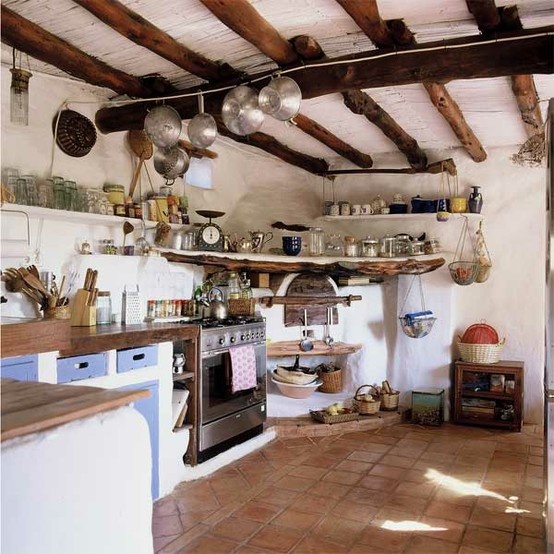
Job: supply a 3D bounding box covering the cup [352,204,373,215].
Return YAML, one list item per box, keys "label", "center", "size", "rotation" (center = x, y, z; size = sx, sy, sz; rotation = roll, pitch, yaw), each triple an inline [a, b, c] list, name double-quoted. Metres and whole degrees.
- label: "cup"
  center: [1.041, -0.831, 5.672]
  size: [0.239, 0.109, 0.124]
  rotation: [0, -3, 10]

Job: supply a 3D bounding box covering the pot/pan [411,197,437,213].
- label: "pot/pan"
  center: [1.679, -0.813, 5.316]
  size: [0.218, 0.145, 0.204]
  rotation: [-1, 6, -9]

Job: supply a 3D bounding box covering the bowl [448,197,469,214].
- label: "bowl"
  center: [1.994, -0.789, 5.075]
  size: [0.182, 0.125, 0.172]
  rotation: [0, -3, 0]

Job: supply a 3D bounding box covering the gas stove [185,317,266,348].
- label: "gas stove"
  center: [-0.393, 0.453, 3.826]
  size: [0.191, 0.217, 0.872]
  rotation: [-1, -2, 28]

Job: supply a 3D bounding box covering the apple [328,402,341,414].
- label: "apple"
  center: [0.581, 1.306, 4.660]
  size: [0.073, 0.045, 0.112]
  rotation: [11, 16, 4]

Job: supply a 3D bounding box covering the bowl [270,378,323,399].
- label: "bowl"
  center: [0.126, 1.162, 4.863]
  size: [0.595, 0.203, 0.281]
  rotation: [-1, -3, 43]

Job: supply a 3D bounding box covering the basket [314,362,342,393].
- label: "basket"
  center: [0.600, 1.150, 5.357]
  size: [0.307, 0.291, 0.319]
  rotation: [-1, -1, -3]

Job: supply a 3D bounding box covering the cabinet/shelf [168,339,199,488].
- label: "cabinet/shelf"
  center: [-0.686, 0.963, 3.376]
  size: [0.162, 0.954, 0.389]
  rotation: [1, -2, -11]

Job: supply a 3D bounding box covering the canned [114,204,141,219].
- label: "canned"
  center: [-1.208, -0.539, 3.767]
  size: [0.155, 0.056, 0.118]
  rotation: [0, 0, 30]

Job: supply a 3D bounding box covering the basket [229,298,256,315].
- label: "basket"
  center: [-0.319, 0.276, 4.450]
  size: [0.117, 0.173, 0.326]
  rotation: [-1, -2, 41]

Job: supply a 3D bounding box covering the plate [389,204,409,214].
- label: "plate"
  center: [1.413, -0.798, 5.453]
  size: [0.147, 0.081, 0.146]
  rotation: [0, 3, 24]

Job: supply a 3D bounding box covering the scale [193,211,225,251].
- label: "scale"
  center: [-0.647, -0.466, 4.512]
  size: [0.318, 0.354, 0.275]
  rotation: [-2, 11, -12]

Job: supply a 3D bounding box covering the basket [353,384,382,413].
- label: "basket"
  center: [0.933, 1.288, 4.969]
  size: [0.339, 0.329, 0.345]
  rotation: [1, -9, -5]

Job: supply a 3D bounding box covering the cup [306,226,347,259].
- label: "cup"
  center: [0.588, -0.417, 5.726]
  size: [0.524, 0.443, 0.277]
  rotation: [2, -2, -41]

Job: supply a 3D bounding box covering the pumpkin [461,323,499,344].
- label: "pumpkin"
  center: [2.165, 0.604, 4.937]
  size: [0.274, 0.235, 0.248]
  rotation: [3, -7, -3]

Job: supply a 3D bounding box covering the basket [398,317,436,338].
- label: "basket"
  center: [1.513, 0.536, 5.088]
  size: [0.284, 0.168, 0.274]
  rotation: [1, -3, -28]

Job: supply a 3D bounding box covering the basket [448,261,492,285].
- label: "basket"
  center: [2.083, -0.059, 5.051]
  size: [0.437, 0.279, 0.384]
  rotation: [0, -2, 22]

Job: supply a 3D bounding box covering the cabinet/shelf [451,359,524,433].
- label: "cabinet/shelf"
  center: [2.157, 1.205, 4.735]
  size: [0.756, 0.679, 0.422]
  rotation: [1, 2, 30]

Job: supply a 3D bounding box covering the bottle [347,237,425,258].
- label: "bottle"
  center: [1.243, -0.348, 5.428]
  size: [0.628, 0.198, 0.358]
  rotation: [-1, 0, -3]

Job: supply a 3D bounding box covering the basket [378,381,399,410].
- label: "basket"
  center: [1.204, 1.297, 5.086]
  size: [0.255, 0.274, 0.298]
  rotation: [2, -6, -26]

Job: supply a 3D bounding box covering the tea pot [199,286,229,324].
- label: "tea pot"
  center: [-0.497, 0.237, 4.179]
  size: [0.231, 0.317, 0.338]
  rotation: [1, 2, 16]

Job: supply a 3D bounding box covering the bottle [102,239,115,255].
- label: "bottle"
  center: [-1.338, -0.245, 3.704]
  size: [0.112, 0.139, 0.177]
  rotation: [1, -2, -20]

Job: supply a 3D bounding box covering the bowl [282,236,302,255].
- label: "bowl"
  center: [0.163, -0.355, 5.197]
  size: [0.190, 0.245, 0.291]
  rotation: [0, -2, -3]

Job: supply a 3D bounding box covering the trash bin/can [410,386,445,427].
- label: "trash bin/can"
  center: [1.569, 1.340, 4.859]
  size: [0.370, 0.318, 0.355]
  rotation: [0, -3, 15]

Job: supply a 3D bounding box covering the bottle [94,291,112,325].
- label: "bottle"
  center: [-1.274, 0.219, 3.428]
  size: [0.107, 0.242, 0.220]
  rotation: [1, -2, -16]
